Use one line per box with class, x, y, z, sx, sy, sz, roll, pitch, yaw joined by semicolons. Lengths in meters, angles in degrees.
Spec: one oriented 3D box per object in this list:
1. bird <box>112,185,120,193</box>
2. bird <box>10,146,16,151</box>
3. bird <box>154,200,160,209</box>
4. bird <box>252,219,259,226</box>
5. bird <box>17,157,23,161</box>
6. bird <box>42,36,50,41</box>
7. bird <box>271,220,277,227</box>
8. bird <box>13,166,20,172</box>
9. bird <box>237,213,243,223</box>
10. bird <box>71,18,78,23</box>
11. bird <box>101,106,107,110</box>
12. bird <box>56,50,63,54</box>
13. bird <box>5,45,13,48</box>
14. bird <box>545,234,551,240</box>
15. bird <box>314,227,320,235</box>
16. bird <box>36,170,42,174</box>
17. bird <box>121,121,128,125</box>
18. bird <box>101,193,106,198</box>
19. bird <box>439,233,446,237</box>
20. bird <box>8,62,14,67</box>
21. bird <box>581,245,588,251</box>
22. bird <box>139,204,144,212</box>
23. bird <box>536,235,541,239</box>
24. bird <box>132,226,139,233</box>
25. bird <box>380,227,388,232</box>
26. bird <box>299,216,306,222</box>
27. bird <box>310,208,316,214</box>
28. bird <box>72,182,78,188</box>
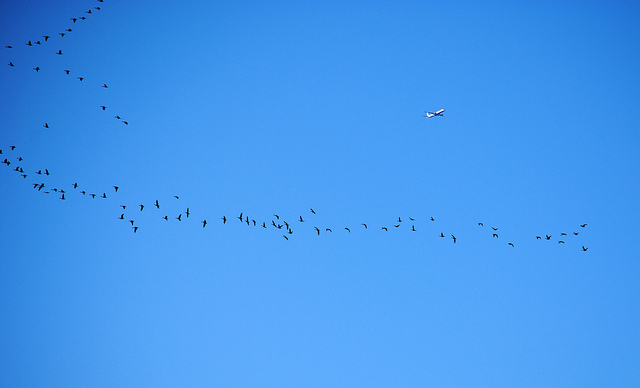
bird;-1.544;-0.028;7.309;0.020;0.059;0.041;-10;-88;-28
bird;-2.339;-0.345;7.350;0.029;0.014;0.029;6;-77;28
bird;-1.236;0.088;7.303;0.033;0.015;0.050;-24;-77;0
bird;-0.491;0.221;7.288;0.048;0.013;0.046;4;-83;3
bird;-2.282;-0.263;7.345;0.034;0.010;0.029;-33;-77;2
bird;-2.103;-1.191;7.409;0.043;0.015;0.040;1;-91;20
bird;-0.352;0.231;7.285;0.038;0.012;0.053;-39;-86;3
bird;-2.304;-0.188;7.334;0.035;0.012;0.036;8;-80;-7
bird;-0.595;0.184;7.290;0.047;0.016;0.046;-44;-78;4
bird;-1.886;-1.330;7.409;0.040;0.010;0.036;0;-85;3
bird;-1.653;-0.649;7.358;0.022;0.009;0.028;4;-91;-4
bird;-1.994;-1.085;7.390;0.043;0.009;0.032;5;-79;-7
bird;-2.389;-1.128;7.400;0.046;0.013;0.015;4;-62;1
bird;1.703;0.334;7.232;0.037;0.012;0.035;-5;-94;6
bird;-0.031;0.290;7.282;0.018;0.014;0.061;-22;-91;8
bird;-2.137;-0.162;7.332;0.030;0.010;0.030;7;-79;-7
bird;-1.490;-0.534;7.344;0.040;0.010;0.023;24;-82;4
bird;-1.636;0.020;7.297;0.029;0.008;0.028;5;-79;-7
bird;0.918;0.317;7.260;0.028;0.047;0.044;-1;-94;27
bird;-2.368;-0.991;7.386;0.037;0.011;0.035;4;-93;-9
bird;1.974;0.415;7.214;0.041;0.013;0.039;4;-81;6
bird;-1.350;0.105;7.300;0.033;0.014;0.047;-8;-78;-4
bird;1.631;0.331;7.232;0.032;0.009;0.018;1;-79;-6
bird;-1.399;0.277;7.281;0.049;0.013;0.043;1;-94;-14
bird;0.487;0.268;7.272;0.044;0.013;0.024;20;-81;-9
bird;-0.142;0.196;7.286;0.038;0.014;0.040;-10;-78;-4
bird;-0.061;0.138;7.292;0.038;0.009;0.036;19;-97;-5
bird;-1.851;-0.058;7.309;0.028;0.012;0.030;-16;-78;-2
